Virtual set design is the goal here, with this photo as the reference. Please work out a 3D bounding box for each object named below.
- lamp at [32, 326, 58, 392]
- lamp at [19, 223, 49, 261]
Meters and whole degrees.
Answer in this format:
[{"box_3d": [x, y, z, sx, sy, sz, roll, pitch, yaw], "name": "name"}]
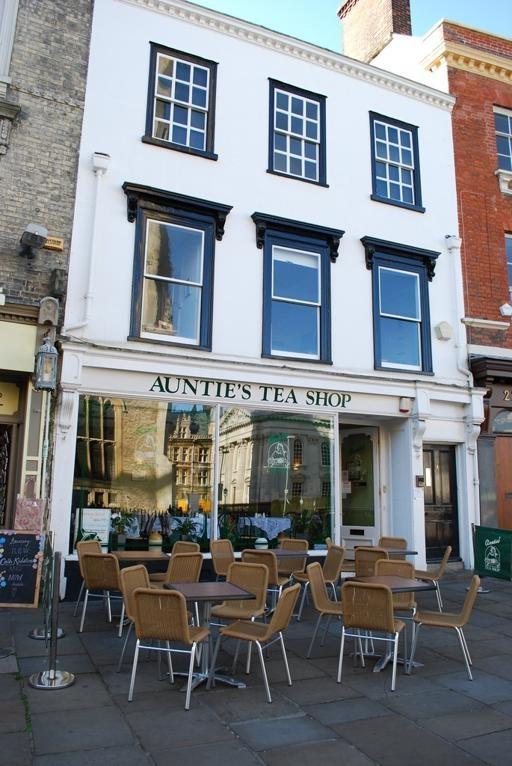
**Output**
[{"box_3d": [-2.748, -0.330, 7.415, 0.283, 0.893, 0.752, 6, -13, -22], "name": "lamp"}, {"box_3d": [-3.102, -1.977, 7.956, 0.344, 0.363, 0.537, 11, -31, -32], "name": "lamp"}]
